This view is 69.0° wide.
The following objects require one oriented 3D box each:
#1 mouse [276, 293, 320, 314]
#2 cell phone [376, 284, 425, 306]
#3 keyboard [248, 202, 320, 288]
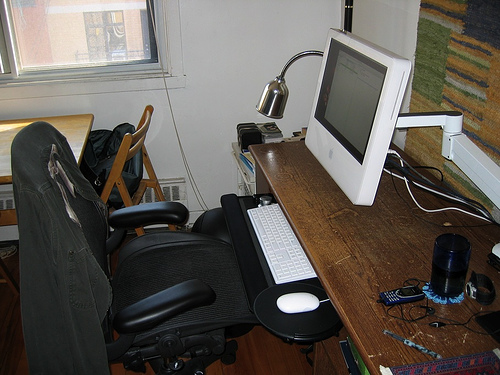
[{"bbox_3d":[0.137,0.328,1.027,0.091,0.025,0.058,-1,38,1],"label":"mouse"},{"bbox_3d":[0.402,0.284,0.959,0.109,0.016,0.052,-8,26,-5],"label":"cell phone"},{"bbox_3d":[0.099,0.200,1.311,0.138,0.056,0.407,-7,32,-12],"label":"keyboard"}]
